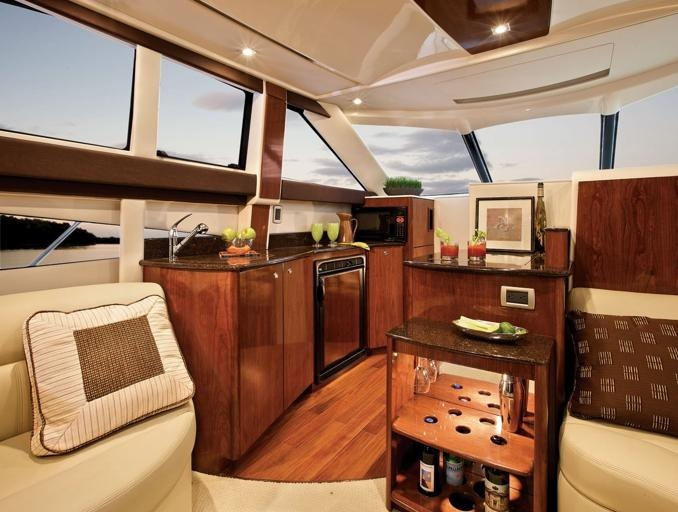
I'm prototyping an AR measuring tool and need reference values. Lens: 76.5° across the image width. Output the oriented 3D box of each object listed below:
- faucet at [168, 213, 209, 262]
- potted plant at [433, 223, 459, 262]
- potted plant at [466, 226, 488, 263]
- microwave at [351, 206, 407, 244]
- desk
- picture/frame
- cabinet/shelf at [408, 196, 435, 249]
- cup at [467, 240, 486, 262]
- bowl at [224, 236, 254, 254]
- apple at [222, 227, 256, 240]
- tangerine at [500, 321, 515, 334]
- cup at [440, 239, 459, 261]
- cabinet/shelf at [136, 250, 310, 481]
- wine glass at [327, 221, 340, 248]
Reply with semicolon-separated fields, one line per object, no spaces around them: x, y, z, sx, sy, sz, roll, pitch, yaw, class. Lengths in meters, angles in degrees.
-1.111;-0.147;3.154;0.087;0.325;0.370;7;14;24;faucet
0.736;-0.076;2.885;0.142;0.224;0.137;-1;-2;38;potted plant
0.890;-0.073;2.775;0.151;0.202;0.148;6;-5;-21;potted plant
0.399;-0.350;4.951;0.644;0.402;0.342;1;0;-13;microwave
1.025;0.331;2.796;0.873;0.823;0.597;4;26;36;desk
1.137;-0.218;2.910;0.421;0.427;0.032;2;4;31;picture/frame
0.898;-0.382;4.784;0.290;0.595;0.629;0;1;17;cabinet/shelf
0.848;-0.036;2.717;0.127;0.135;0.121;-1;5;0;cup
-0.765;-0.080;3.346;0.168;0.076;0.139;-7;11;-37;bowl
-0.780;-0.179;3.356;0.192;0.083;0.105;2;3;-12;apple
0.888;0.377;2.273;0.047;0.036;0.060;2;16;4;tangerine
0.717;-0.042;2.862;0.131;0.142;0.125;-1;4;0;cup
-0.711;0.610;3.287;0.655;1.174;1.254;2;5;18;cabinet/shelf
-0.055;-0.247;4.507;0.130;0.221;0.340;-3;4;0;wine glass
